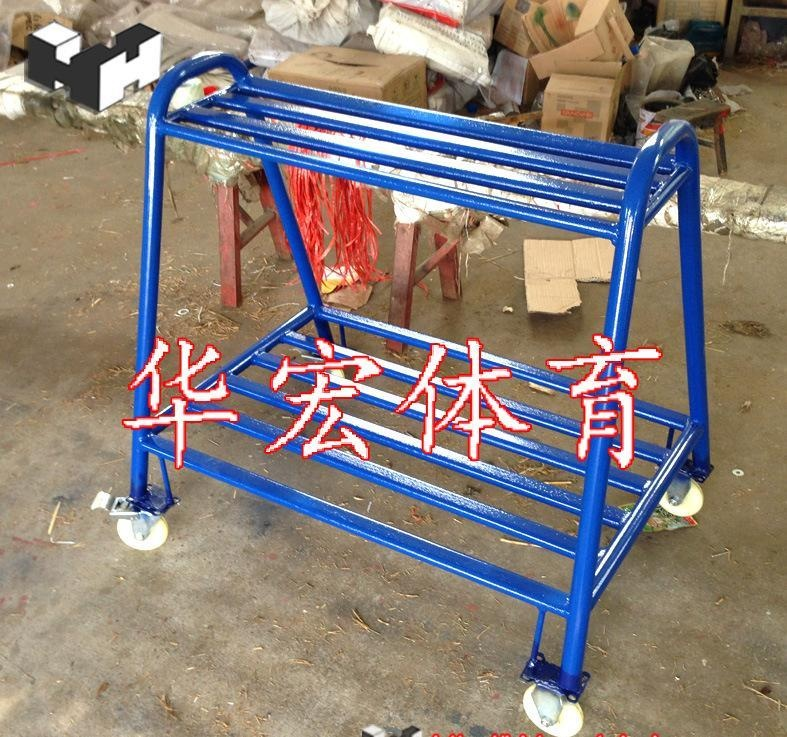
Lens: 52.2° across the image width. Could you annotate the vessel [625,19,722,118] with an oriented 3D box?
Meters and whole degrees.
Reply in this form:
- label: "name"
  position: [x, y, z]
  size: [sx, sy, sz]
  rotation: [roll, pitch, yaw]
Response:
- label: "vessel"
  position: [1.388, -1.516, 4.001]
  size: [0.647, 0.263, 0.696]
  rotation: [1, 41, 4]
